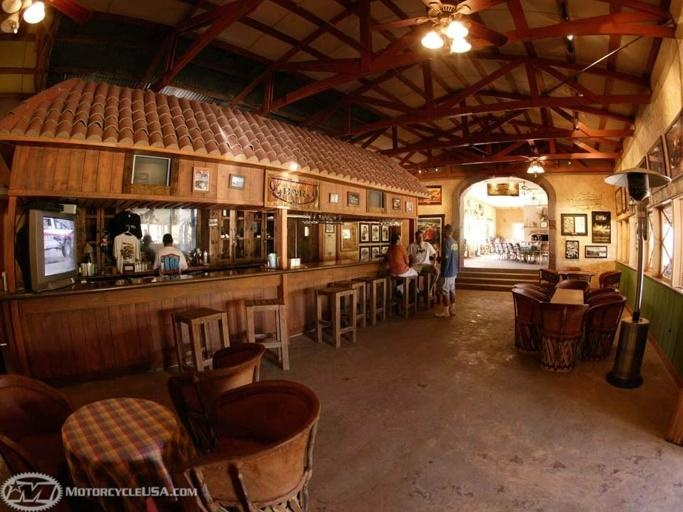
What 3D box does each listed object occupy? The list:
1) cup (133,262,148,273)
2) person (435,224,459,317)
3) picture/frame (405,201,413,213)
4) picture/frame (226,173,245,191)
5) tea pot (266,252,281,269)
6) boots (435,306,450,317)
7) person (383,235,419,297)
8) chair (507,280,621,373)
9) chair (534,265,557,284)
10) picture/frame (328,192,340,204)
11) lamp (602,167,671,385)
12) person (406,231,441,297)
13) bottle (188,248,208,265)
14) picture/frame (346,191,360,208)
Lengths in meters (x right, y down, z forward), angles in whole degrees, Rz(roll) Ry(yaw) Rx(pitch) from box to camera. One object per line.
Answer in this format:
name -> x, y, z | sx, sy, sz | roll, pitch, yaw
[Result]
cup -> -3.608, 0.211, 8.233 | 0.156, 0.174, 0.181 | -3, -4, 33
person -> 2.492, 0.291, 10.448 | 0.400, 1.983, 1.498 | 2, 5, 13
picture/frame -> 1.796, -1.264, 11.745 | 0.064, 0.250, 0.270 | 1, 0, 32
picture/frame -> -1.701, -1.204, 7.363 | 0.041, 0.224, 0.306 | 11, 9, 40
tea pot -> -1.201, 0.103, 8.168 | 0.294, 0.296, 0.199 | -2, -1, 15
boots -> 2.243, 1.227, 10.080 | 0.348, 0.262, 0.195 | 3, 3, 27
person -> 1.348, 0.228, 9.974 | 0.667, 1.347, 0.949 | 1, 5, 6
chair -> 3.648, 1.072, 7.244 | 1.176, 0.704, 1.505 | 1, 0, 36
chair -> 4.780, 0.455, 10.342 | 0.478, 0.519, 0.473 | -4, 3, 1
picture/frame -> -0.131, -1.155, 9.077 | 0.037, 0.166, 0.286 | -2, -1, 31
lamp -> 4.513, 0.278, 6.908 | 0.644, 2.971, 2.008 | 4, 6, 36
person -> 1.844, 0.127, 10.318 | 0.764, 1.304, 0.708 | -8, 16, -8
bottle -> -3.220, 0.019, 10.306 | 0.424, 0.349, 0.814 | -1, 5, -18
picture/frame -> 0.261, -1.198, 9.647 | 0.027, 0.252, 0.418 | -3, -2, 35
